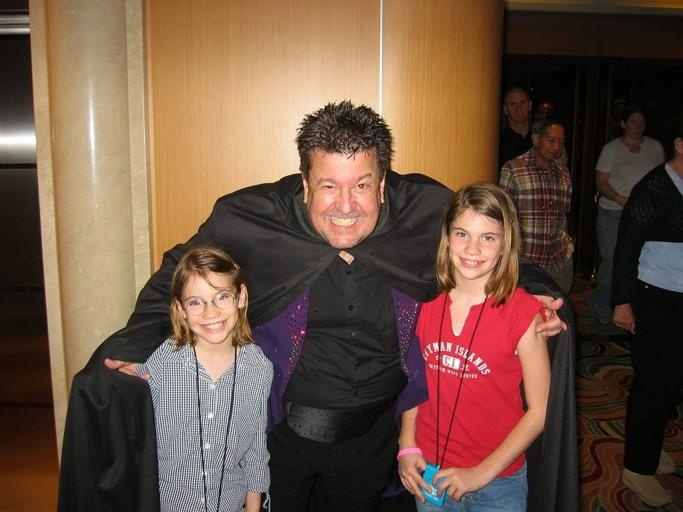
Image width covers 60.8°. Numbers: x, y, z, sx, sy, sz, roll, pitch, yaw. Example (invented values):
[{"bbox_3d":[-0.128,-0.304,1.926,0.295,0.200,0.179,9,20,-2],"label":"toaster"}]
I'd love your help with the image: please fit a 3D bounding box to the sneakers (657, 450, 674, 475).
[{"bbox_3d":[1.847,1.155,3.296,0.077,0.056,0.136,-4,31,9],"label":"sneakers"}]
